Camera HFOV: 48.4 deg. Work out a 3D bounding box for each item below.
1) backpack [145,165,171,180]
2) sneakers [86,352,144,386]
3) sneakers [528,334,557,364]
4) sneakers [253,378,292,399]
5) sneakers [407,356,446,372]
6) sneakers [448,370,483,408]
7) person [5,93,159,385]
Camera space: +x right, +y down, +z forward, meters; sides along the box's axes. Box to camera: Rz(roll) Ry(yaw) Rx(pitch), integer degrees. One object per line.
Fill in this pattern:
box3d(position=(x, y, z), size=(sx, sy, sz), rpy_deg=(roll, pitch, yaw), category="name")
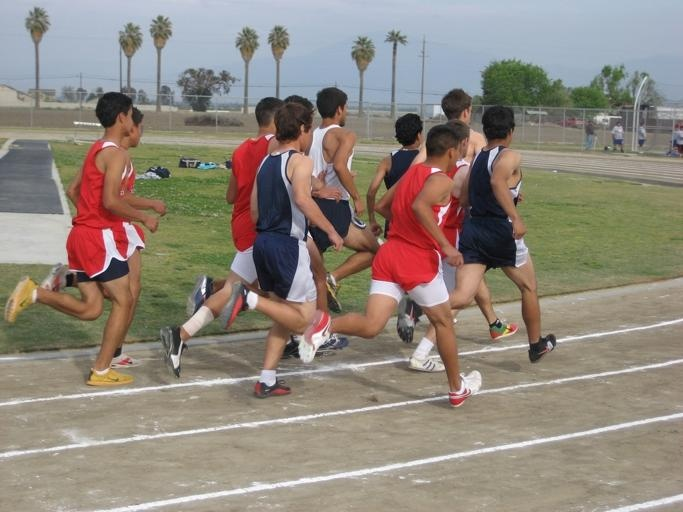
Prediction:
box3d(position=(-5.352, -2.441, 22.479), size=(0.588, 0.253, 0.676), rpy_deg=(1, 4, 1), category="backpack")
box3d(position=(-2.111, 1.101, 7.179), size=(0.195, 0.160, 0.454), rpy_deg=(9, 7, 40), category="sneakers")
box3d(position=(2.040, 0.961, 7.836), size=(0.460, 0.171, 0.155), rpy_deg=(-32, 27, -34), category="sneakers")
box3d(position=(-0.623, 1.200, 6.884), size=(0.358, 0.125, 0.141), rpy_deg=(-1, 6, -27), category="sneakers")
box3d(position=(0.820, 1.095, 7.672), size=(0.456, 0.151, 0.136), rpy_deg=(1, 3, -16), category="sneakers")
box3d(position=(1.079, 1.186, 6.674), size=(0.167, 0.172, 0.467), rpy_deg=(10, 33, 43), category="sneakers")
box3d(position=(-2.289, -0.139, 7.017), size=(1.252, 2.675, 0.981), rpy_deg=(-5, 14, -24), category="person")
